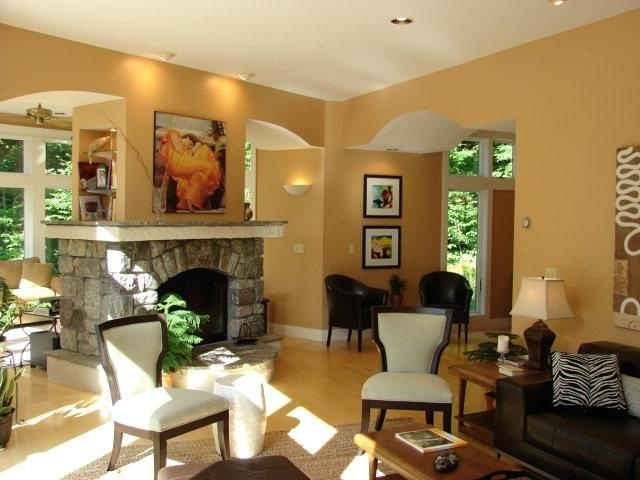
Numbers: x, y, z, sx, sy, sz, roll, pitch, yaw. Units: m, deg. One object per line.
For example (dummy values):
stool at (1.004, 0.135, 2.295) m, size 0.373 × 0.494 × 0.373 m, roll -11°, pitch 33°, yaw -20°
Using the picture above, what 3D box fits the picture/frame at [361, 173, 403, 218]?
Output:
picture/frame at (0.970, -0.675, 7.424) m, size 0.697 × 0.643 × 0.040 m, roll 8°, pitch 12°, yaw 42°

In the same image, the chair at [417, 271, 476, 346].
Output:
chair at (1.888, 0.981, 7.300) m, size 0.793 × 0.940 × 0.670 m, roll 1°, pitch -1°, yaw 9°

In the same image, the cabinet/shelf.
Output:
cabinet/shelf at (1.601, 1.350, 4.247) m, size 0.739 × 0.575 × 0.717 m, roll 1°, pitch 2°, yaw -29°

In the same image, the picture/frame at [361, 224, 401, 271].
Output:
picture/frame at (0.904, 0.102, 7.394) m, size 0.789 × 0.714 × 0.055 m, roll 1°, pitch -1°, yaw -26°

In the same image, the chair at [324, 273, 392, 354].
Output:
chair at (0.474, 1.027, 7.040) m, size 0.764 × 0.951 × 0.852 m, roll 3°, pitch 1°, yaw 34°

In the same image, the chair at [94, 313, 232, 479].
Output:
chair at (-1.173, 1.171, 3.641) m, size 0.817 × 0.741 × 0.662 m, roll 1°, pitch 0°, yaw 36°
